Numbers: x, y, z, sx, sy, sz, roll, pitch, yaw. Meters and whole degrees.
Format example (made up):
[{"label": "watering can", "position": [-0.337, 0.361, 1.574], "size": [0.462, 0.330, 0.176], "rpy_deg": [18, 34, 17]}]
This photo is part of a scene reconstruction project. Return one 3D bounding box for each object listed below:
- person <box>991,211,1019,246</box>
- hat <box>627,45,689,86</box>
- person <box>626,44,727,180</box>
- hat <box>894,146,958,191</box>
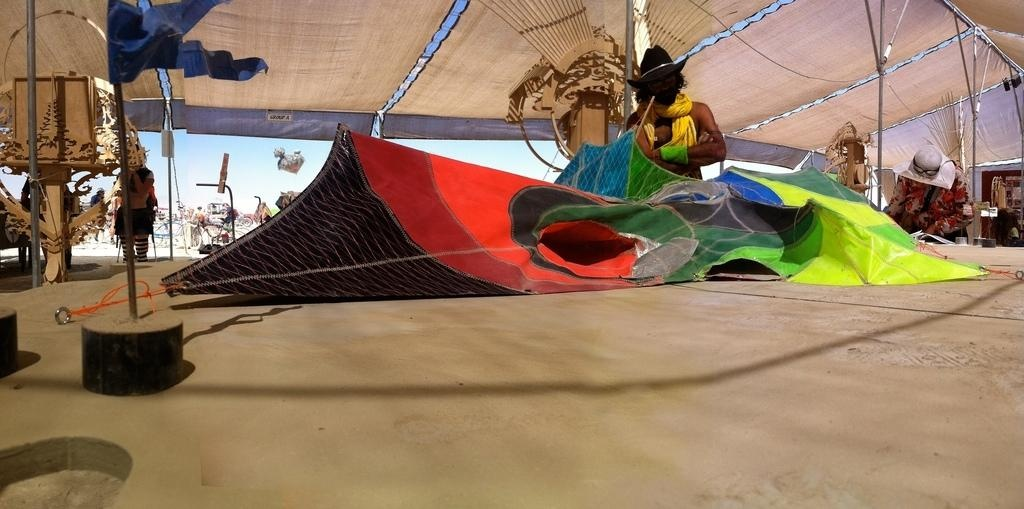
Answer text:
[{"label": "person", "position": [11.772, -0.680, 13.649], "size": [0.470, 0.846, 3.078], "rpy_deg": [6, 6, 40]}, {"label": "hat", "position": [1.589, -2.070, 6.500], "size": [0.529, 0.232, 0.595], "rpy_deg": [-33, 18, -22]}, {"label": "person", "position": [1.862, -1.606, 6.447], "size": [1.042, 1.488, 0.672], "rpy_deg": [3, 5, 16]}, {"label": "hat", "position": [5.928, -1.169, 8.102], "size": [0.698, 0.699, 0.253], "rpy_deg": [8, -41, 39]}]
